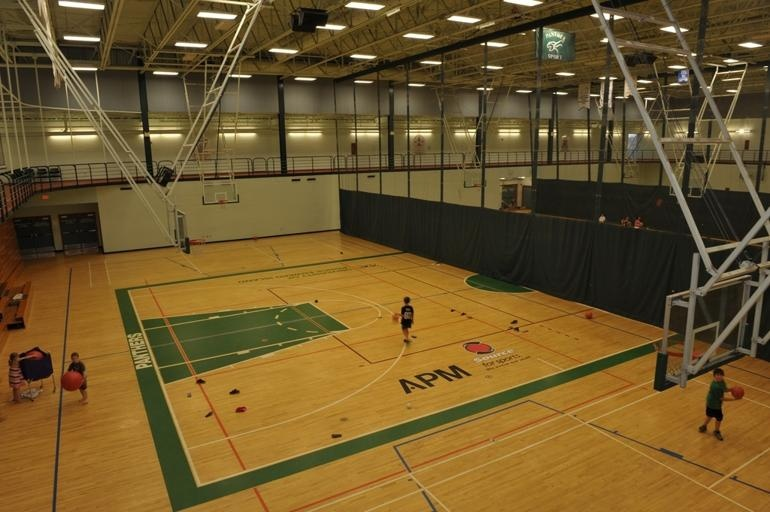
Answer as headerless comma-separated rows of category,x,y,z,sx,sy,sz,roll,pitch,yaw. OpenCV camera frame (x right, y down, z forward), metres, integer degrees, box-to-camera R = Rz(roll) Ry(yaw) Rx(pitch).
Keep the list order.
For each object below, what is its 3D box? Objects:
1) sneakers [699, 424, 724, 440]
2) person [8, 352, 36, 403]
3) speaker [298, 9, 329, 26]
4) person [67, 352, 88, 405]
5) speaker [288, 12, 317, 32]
sneakers,8.248,4.453,12.945,0.234,0.263,0.619,-7,14,-21
person,-10.493,3.380,14.625,0.531,1.433,0.750,-12,15,-37
speaker,-2.789,-9.392,20.046,0.994,0.641,0.664,-1,7,-24
person,-8.690,3.390,14.516,0.378,1.457,1.185,-11,14,-33
speaker,-3.309,-9.196,20.459,1.040,0.674,0.922,-3,20,-24
